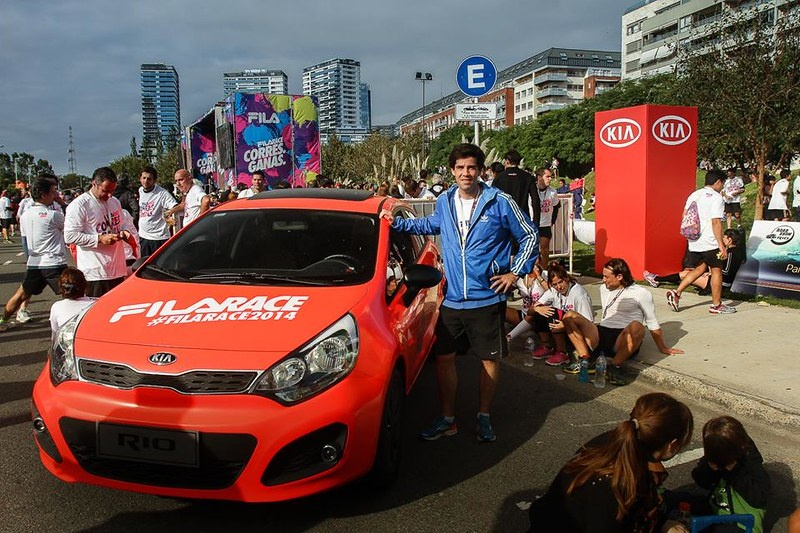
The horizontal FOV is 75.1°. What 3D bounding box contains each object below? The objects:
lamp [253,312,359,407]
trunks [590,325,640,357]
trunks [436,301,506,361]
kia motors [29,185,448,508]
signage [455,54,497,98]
[{"bbox_3d":[-0.622,0.562,3.450,0.571,0.263,0.406,-33,16,-21],"label":"lamp"},{"bbox_3d":[2.474,0.882,6.174,0.346,0.156,0.408,7,10,21],"label":"trunks"},{"bbox_3d":[0.630,0.563,4.641,0.710,0.658,0.438,0,-5,28],"label":"trunks"},{"bbox_3d":[-0.885,0.564,4.683,1.968,1.448,3.196,1,4,13],"label":"kia motors"},{"bbox_3d":[1.297,-3.190,8.831,0.621,0.645,0.435,2,14,6],"label":"signage"}]
